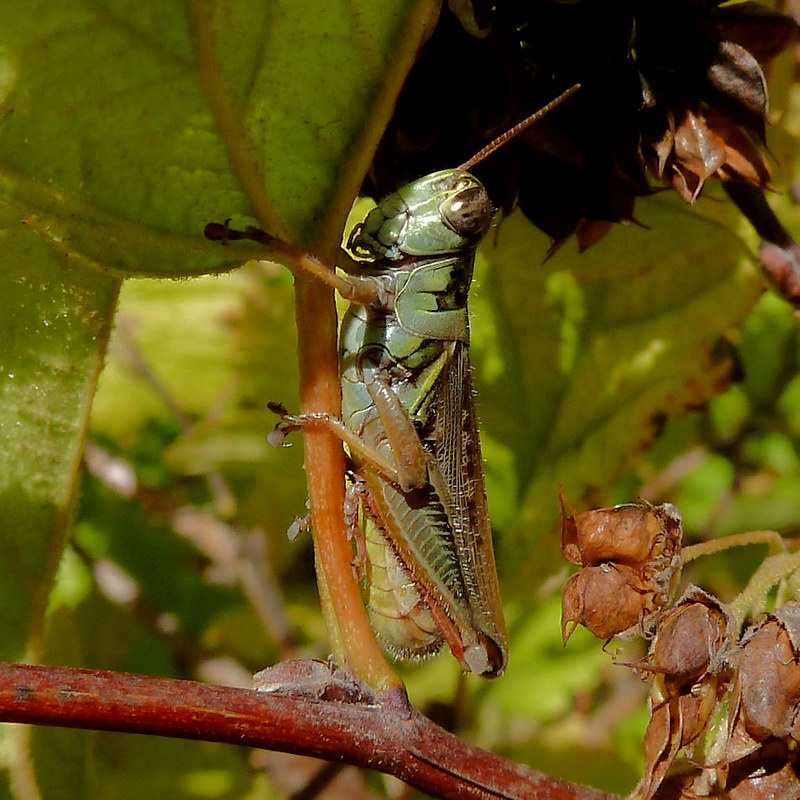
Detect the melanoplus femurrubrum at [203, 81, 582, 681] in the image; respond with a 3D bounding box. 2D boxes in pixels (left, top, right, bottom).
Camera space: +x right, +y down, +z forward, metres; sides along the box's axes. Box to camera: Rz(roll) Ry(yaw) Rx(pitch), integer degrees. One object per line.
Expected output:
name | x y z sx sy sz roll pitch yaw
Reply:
melanoplus femurrubrum | 0.023 0.037 1.320 0.276 0.257 0.652 0 92 -8
